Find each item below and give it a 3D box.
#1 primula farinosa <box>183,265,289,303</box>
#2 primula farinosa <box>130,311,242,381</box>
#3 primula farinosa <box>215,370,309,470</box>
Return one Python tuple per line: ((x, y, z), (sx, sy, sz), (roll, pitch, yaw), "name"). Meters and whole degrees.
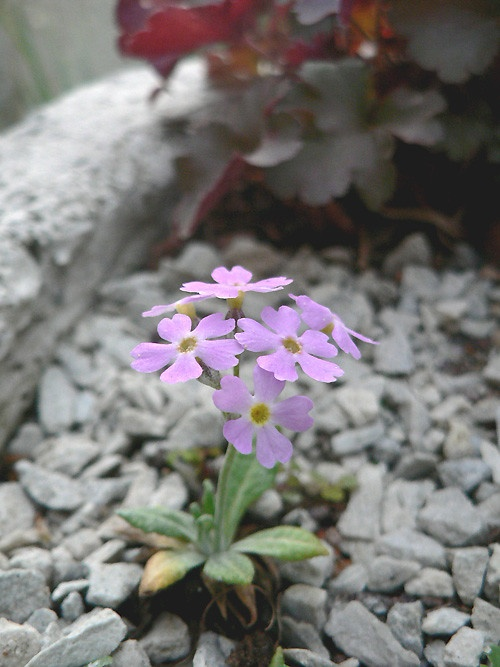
((-0.022, -0.073, 1.311), (0.113, 0.020, 0.096), (-9, 19, -21), "primula farinosa")
((-0.090, 0.025, 1.244), (0.141, 0.052, 0.136), (14, 41, 33), "primula farinosa")
((0.012, 0.117, 1.234), (0.042, 0.179, 0.147), (-33, 44, 32), "primula farinosa")
